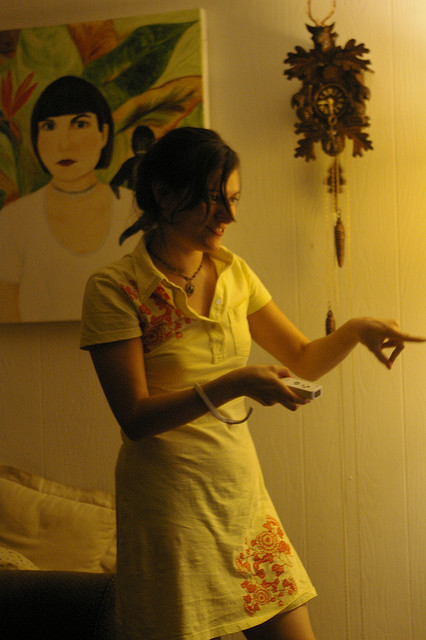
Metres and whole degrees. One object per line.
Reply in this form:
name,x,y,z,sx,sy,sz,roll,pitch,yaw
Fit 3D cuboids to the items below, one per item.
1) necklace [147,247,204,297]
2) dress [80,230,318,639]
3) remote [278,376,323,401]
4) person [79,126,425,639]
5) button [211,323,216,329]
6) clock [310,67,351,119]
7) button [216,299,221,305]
necklace,-0.062,-0.084,1.134,0.095,0.087,0.014,-12,-20,-35
dress,-0.034,0.201,1.084,0.390,0.689,0.368,0,13,-13
remote,0.138,0.103,0.966,0.065,0.014,0.031,20,19,38
person,0.047,0.110,1.109,0.513,0.882,0.475,-6,15,-36
button,0.001,0.010,1.060,0.009,0.007,0.002,-4,10,-2
clock,0.300,-0.574,1.548,0.101,0.127,0.031,4,13,6
button,0.010,-0.032,1.096,0.012,0.010,0.003,0,-8,-11
